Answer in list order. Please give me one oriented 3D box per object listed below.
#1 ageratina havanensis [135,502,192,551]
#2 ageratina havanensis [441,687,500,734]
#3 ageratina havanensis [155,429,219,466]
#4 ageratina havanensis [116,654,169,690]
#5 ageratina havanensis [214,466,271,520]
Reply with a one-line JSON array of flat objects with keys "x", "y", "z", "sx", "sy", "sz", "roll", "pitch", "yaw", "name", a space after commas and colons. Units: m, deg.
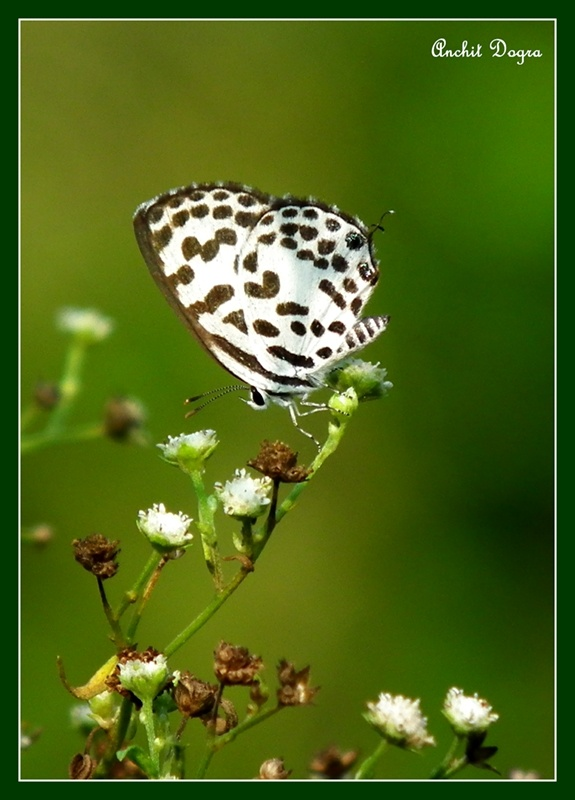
[{"x": -0.325, "y": 0.327, "z": 2.629, "sx": 0.143, "sy": 0.121, "sz": 0.186, "roll": -2, "pitch": 8, "yaw": -4, "name": "ageratina havanensis"}, {"x": 0.489, "y": 0.823, "z": 2.680, "sx": 0.140, "sy": 0.124, "sz": 0.216, "roll": 0, "pitch": 8, "yaw": 8, "name": "ageratina havanensis"}, {"x": -0.270, "y": 0.129, "z": 2.689, "sx": 0.161, "sy": 0.090, "sz": 0.158, "roll": -16, "pitch": -17, "yaw": -1, "name": "ageratina havanensis"}, {"x": -0.339, "y": 0.639, "z": 2.351, "sx": 0.093, "sy": 0.055, "sz": 0.087, "roll": -3, "pitch": 1, "yaw": -22, "name": "ageratina havanensis"}, {"x": -0.112, "y": 0.261, "z": 2.641, "sx": 0.159, "sy": 0.096, "sz": 0.136, "roll": -3, "pitch": 8, "yaw": -15, "name": "ageratina havanensis"}]
